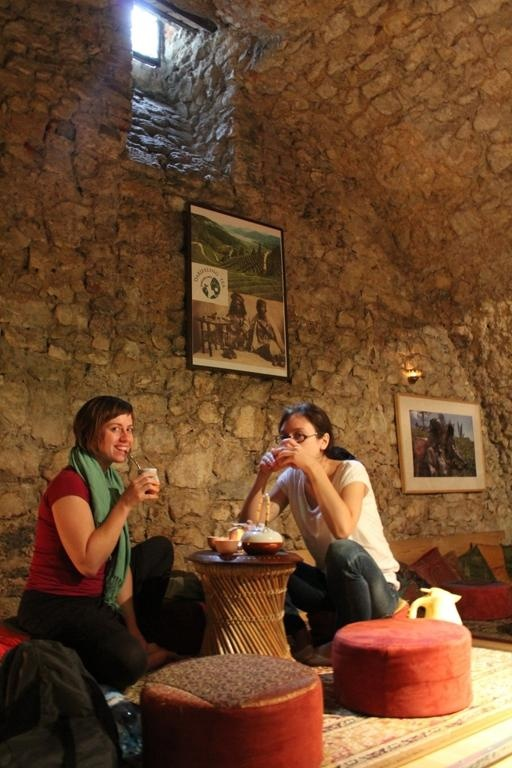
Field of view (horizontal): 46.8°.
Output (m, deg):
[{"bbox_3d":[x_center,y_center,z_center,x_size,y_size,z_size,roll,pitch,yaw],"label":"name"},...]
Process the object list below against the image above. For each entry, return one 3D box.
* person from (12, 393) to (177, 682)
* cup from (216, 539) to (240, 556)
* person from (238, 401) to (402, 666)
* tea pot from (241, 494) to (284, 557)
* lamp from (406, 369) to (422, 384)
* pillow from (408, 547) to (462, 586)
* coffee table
[{"bbox_3d":[-0.496,0.542,2.088,0.443,0.997,0.661,-4,-9,21],"label":"person"},{"bbox_3d":[-0.096,0.587,2.144,0.072,0.048,0.071,0,-15,0],"label":"cup"},{"bbox_3d":[0.250,0.608,2.453,0.696,1.028,0.651,-1,-26,7],"label":"person"},{"bbox_3d":[0.025,0.520,2.194,0.155,0.233,0.158,3,-9,0],"label":"tea pot"},{"bbox_3d":[1.284,-0.059,4.865,0.128,0.100,0.121,5,-12,-18],"label":"lamp"},{"bbox_3d":[1.351,1.362,4.423,0.243,0.238,0.522,-8,-10,38],"label":"pillow"},{"bbox_3d":[-0.025,0.833,2.082,0.349,0.365,0.378,-28,-48,33],"label":"coffee table"}]
